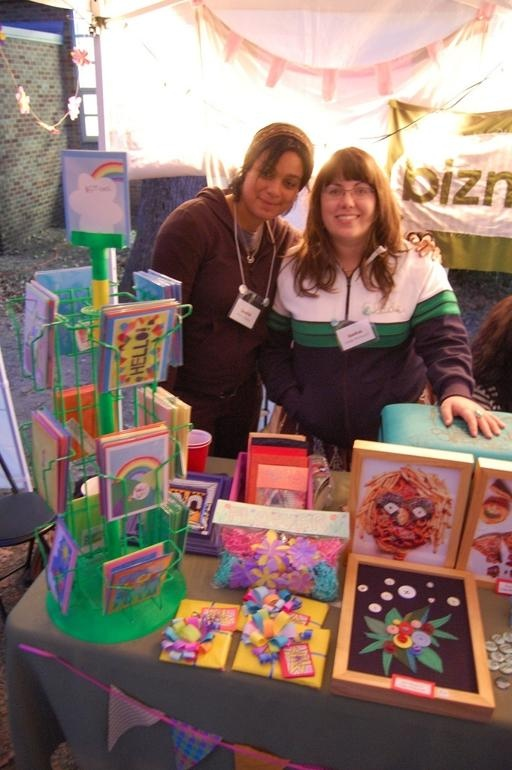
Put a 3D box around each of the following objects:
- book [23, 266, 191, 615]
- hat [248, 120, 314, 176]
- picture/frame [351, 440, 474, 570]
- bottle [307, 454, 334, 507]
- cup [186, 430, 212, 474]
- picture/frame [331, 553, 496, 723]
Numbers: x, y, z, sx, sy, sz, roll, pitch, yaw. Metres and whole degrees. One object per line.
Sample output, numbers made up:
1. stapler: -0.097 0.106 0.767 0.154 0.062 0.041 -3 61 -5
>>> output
1. book: -0.248 0.135 0.953 0.271 0.612 0.319 -5 20 -23
2. hat: 0.075 -0.703 1.660 0.222 0.197 0.164 5 7 -1
3. picture/frame: 0.318 0.245 1.088 0.240 0.274 0.046 4 19 11
4. bottle: 0.162 0.238 1.355 0.089 0.113 0.037 1 -25 3
5. cup: -0.143 0.169 1.442 0.091 0.094 0.093 5 25 -2
6. picture/frame: 0.279 0.448 0.979 0.266 0.061 0.342 3 18 10
